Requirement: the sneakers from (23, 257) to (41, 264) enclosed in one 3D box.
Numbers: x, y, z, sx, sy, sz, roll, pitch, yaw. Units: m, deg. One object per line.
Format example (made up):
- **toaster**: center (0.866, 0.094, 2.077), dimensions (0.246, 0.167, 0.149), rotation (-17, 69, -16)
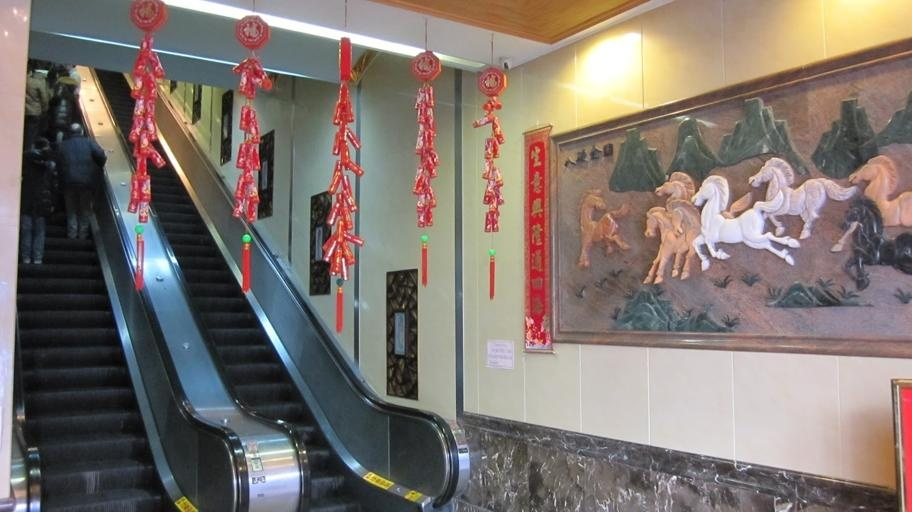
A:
- **sneakers**: center (-5.893, 0.070, 9.520), dimensions (0.154, 0.080, 0.113), rotation (0, 2, 35)
